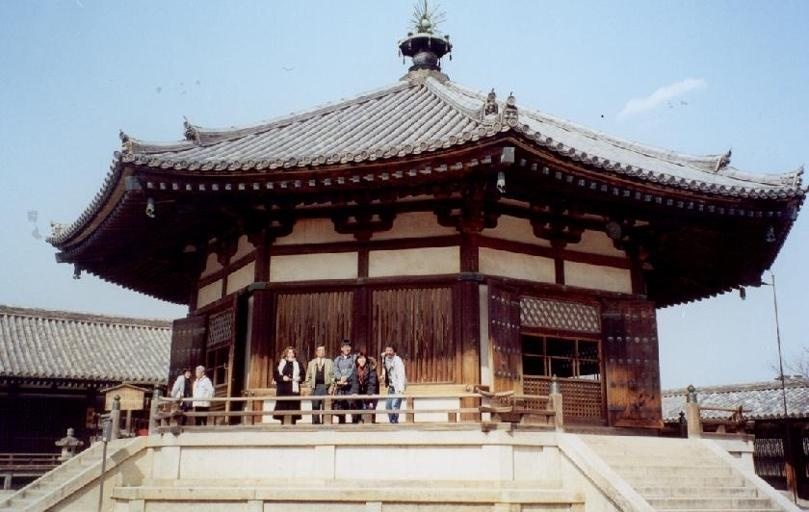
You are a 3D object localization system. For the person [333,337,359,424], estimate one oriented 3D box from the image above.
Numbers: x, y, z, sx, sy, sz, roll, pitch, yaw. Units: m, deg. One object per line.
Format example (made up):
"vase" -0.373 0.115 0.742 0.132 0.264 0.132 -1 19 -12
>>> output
"person" -1.399 2.877 15.746 0.531 1.804 1.047 2 -19 -5
